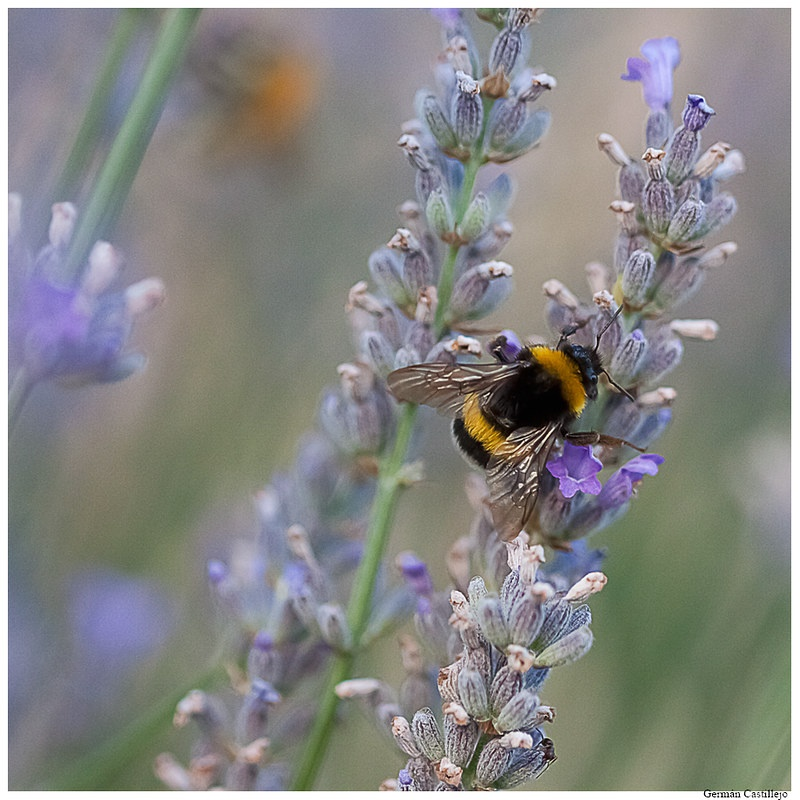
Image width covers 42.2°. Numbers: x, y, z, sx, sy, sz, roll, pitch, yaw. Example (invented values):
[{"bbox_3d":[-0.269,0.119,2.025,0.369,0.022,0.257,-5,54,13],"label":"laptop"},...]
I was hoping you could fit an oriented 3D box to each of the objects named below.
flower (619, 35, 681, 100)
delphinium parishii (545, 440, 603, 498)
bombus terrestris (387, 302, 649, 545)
[{"bbox_3d":[0.587,-0.734,2.333,0.106,0.168,0.196,12,10,42],"label":"flower"},{"bbox_3d":[0.367,0.148,2.175,0.116,0.106,0.119,9,8,15],"label":"delphinium parishii"},{"bbox_3d":[0.220,0.047,2.424,0.589,0.564,0.457,-19,21,-32],"label":"bombus terrestris"}]
